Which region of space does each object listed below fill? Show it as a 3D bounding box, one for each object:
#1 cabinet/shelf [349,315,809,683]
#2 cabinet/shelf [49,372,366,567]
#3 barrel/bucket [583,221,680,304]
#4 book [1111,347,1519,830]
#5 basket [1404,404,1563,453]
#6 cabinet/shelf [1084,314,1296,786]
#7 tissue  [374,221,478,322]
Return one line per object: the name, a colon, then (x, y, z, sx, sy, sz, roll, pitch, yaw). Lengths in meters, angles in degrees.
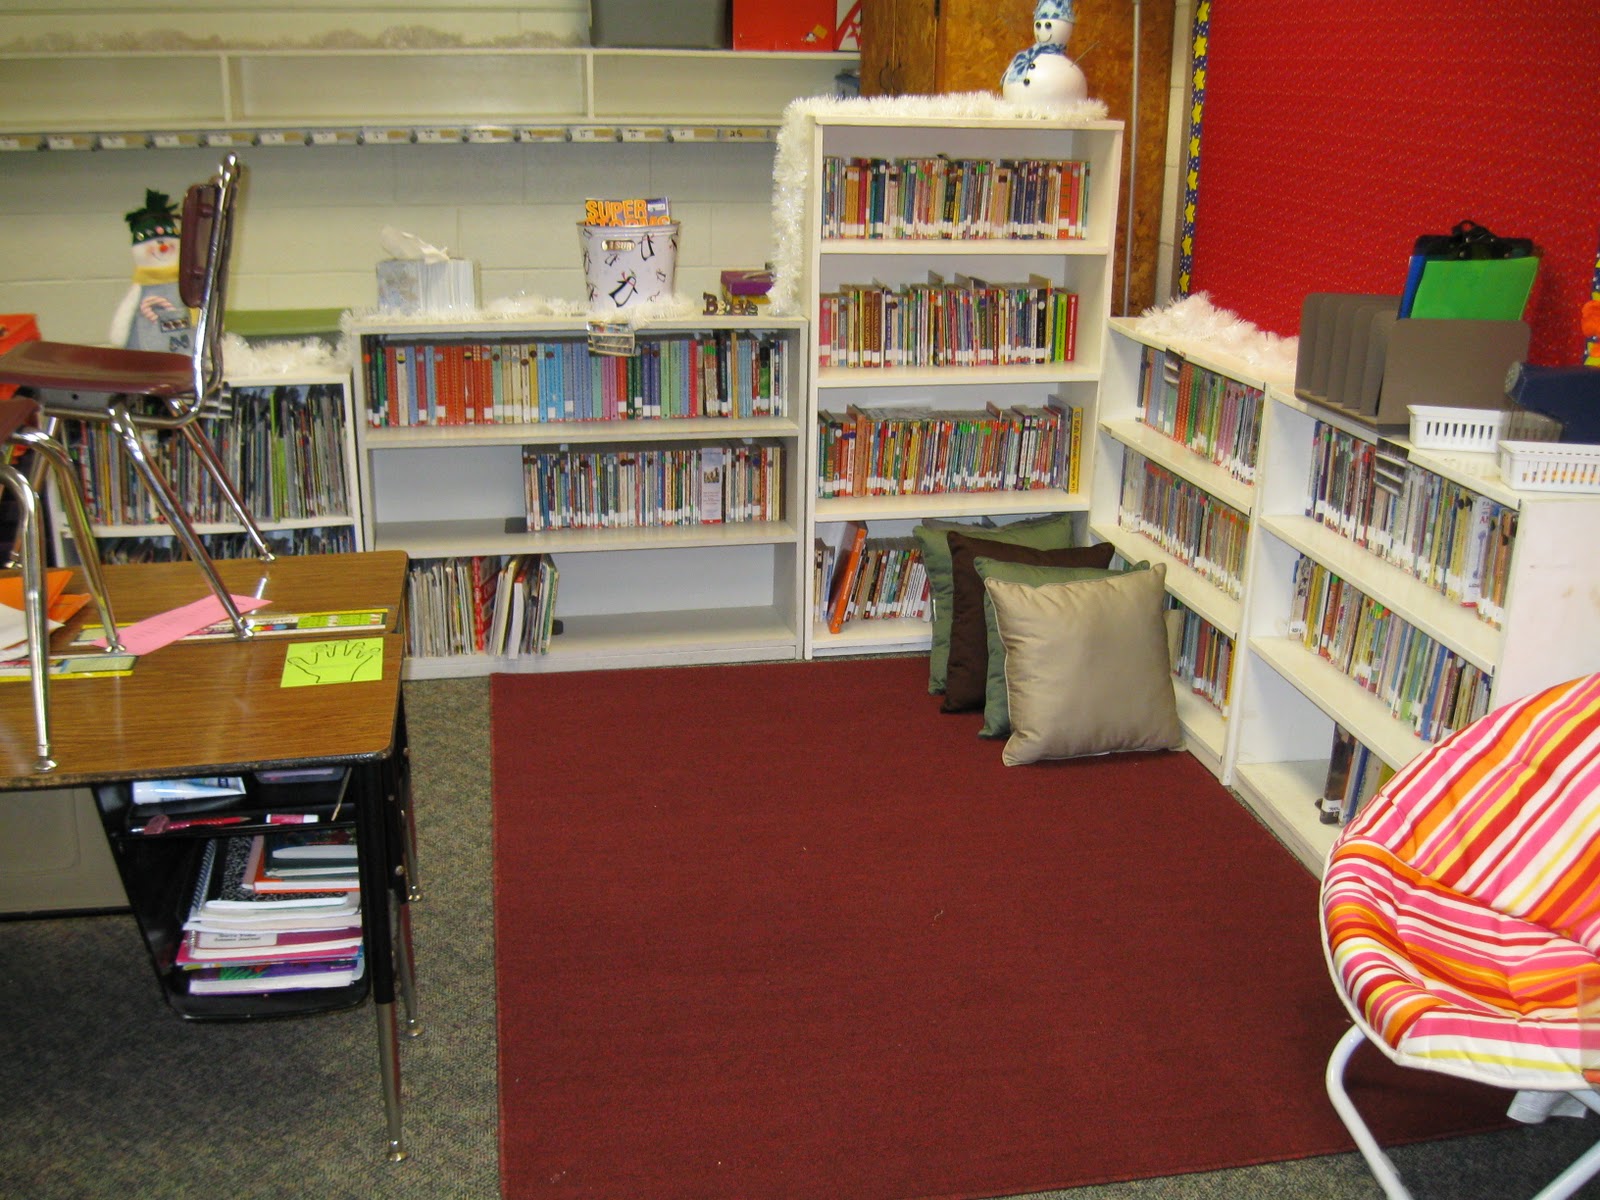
cabinet/shelf: (-0.808, -0.405, 4.471, 1.192, 0.965, 0.359, -2, 15, -6)
cabinet/shelf: (-1.797, -0.420, 3.820, 0.665, 0.636, 0.266, 0, 26, -5)
barrel/bucket: (-0.584, -1.185, 4.387, 0.301, 0.221, 0.273, -2, 17, -3)
book: (1.446, -0.003, 3.467, 0.226, 0.771, 1.297, -2, 24, -12)
basket: (1.644, -0.419, 3.034, 0.212, 0.071, 0.138, -1, 19, -4)
cabinet/shelf: (1.271, -0.139, 3.991, 0.358, 1.160, 1.232, 2, 22, -8)
tissue : (-1.309, -1.177, 4.419, 0.307, 0.322, 0.325, -3, 22, -13)
